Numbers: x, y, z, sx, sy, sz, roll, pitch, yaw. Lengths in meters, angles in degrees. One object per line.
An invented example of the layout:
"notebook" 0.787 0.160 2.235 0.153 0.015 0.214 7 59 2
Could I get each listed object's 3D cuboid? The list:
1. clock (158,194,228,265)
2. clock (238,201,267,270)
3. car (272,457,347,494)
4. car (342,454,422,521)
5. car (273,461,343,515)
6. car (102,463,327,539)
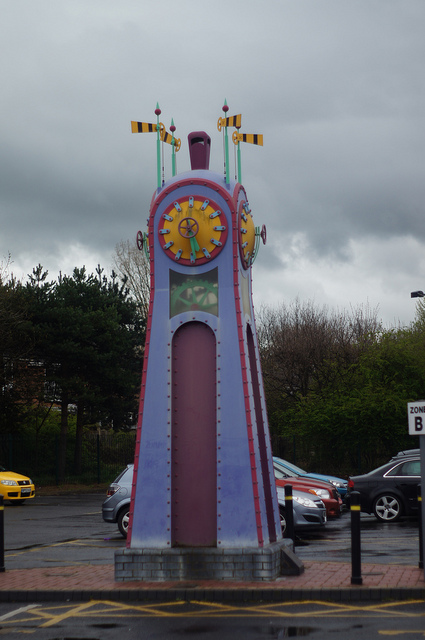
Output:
"clock" -0.210 -1.080 10.436 0.835 0.914 0.128 0 -7 10
"clock" 0.528 -1.083 10.983 0.256 0.885 0.884 0 14 13
"car" 2.421 3.867 20.863 2.038 0.932 1.006 0 -4 4
"car" 4.009 3.571 18.222 2.571 1.213 1.344 -6 -3 5
"car" 2.031 3.447 17.598 2.267 1.030 1.082 -3 -4 16
"car" -0.002 3.256 14.969 3.738 1.598 1.876 -2 -5 11
